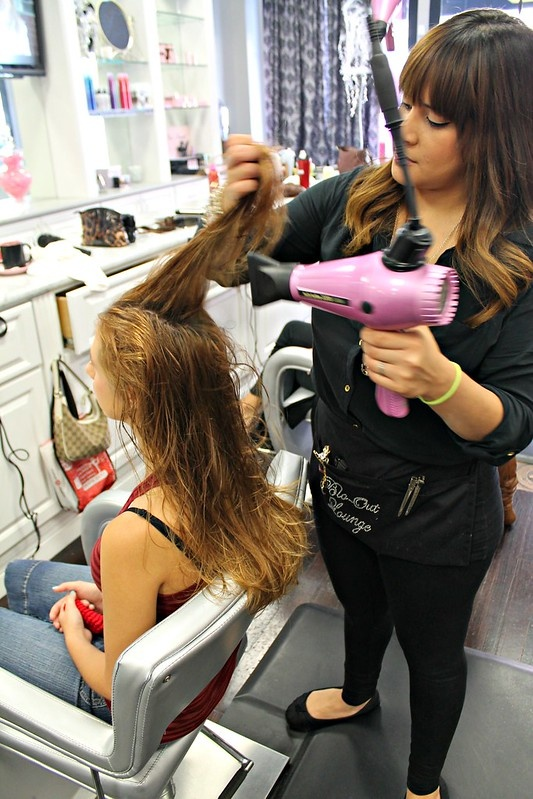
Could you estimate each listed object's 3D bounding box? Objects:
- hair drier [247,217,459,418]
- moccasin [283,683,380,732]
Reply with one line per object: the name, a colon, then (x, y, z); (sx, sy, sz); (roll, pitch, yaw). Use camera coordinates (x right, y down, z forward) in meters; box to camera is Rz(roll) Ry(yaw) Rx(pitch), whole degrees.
hair drier: (0.090, -0.086, 0.625); (0.217, 0.170, 0.073); (14, 40, 30)
moccasin: (0.149, 0.731, 1.330); (0.222, 0.066, 0.093); (-6, 26, 1)
